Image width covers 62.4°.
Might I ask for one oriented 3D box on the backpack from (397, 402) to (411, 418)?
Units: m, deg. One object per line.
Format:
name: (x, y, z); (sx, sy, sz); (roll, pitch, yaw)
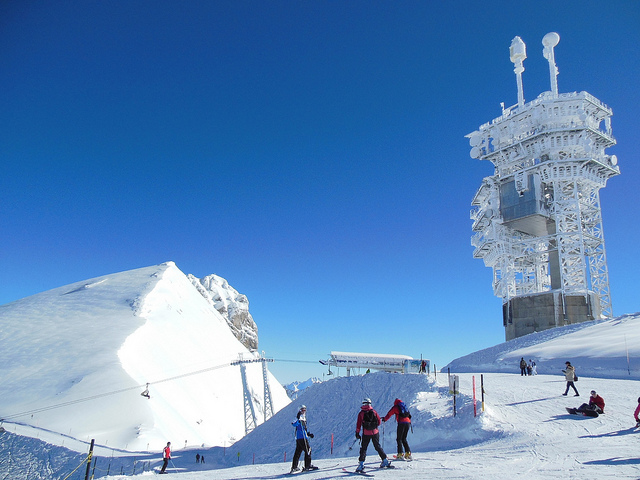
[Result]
backpack: (4.488, 9.102, 28.366); (0.375, 0.789, 0.729); (-17, -22, 37)

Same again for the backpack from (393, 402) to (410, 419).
backpack: (4.358, 9.102, 28.353); (0.728, 0.789, 0.279); (4, -19, -23)

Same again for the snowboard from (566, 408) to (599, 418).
snowboard: (16.687, 10.936, 33.544); (1.396, 0.483, 0.144); (-5, -10, 40)

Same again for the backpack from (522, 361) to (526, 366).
backpack: (18.974, 11.490, 49.364); (0.106, 0.405, 0.449); (-16, -21, 33)
